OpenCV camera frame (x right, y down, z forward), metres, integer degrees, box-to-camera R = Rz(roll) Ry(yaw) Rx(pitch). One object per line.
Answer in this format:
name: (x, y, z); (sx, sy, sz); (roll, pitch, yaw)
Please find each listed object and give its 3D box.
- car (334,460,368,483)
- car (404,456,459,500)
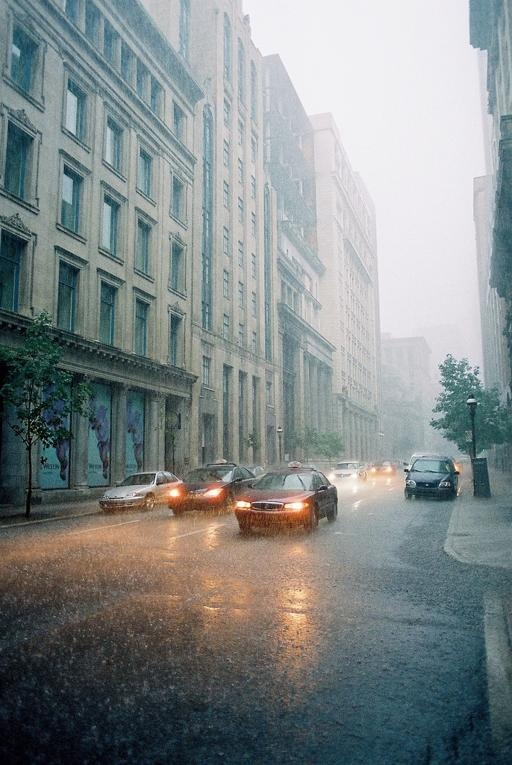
car: (7.843, 7.534, 44.440); (2.318, 1.594, 4.381); (-7, -8, 22)
car: (7.945, 4.282, 24.241); (1.273, 1.564, 3.304); (-3, -15, 13)
